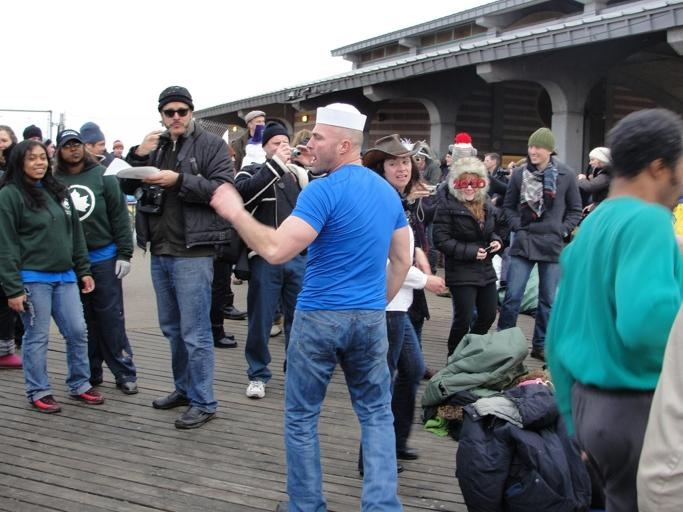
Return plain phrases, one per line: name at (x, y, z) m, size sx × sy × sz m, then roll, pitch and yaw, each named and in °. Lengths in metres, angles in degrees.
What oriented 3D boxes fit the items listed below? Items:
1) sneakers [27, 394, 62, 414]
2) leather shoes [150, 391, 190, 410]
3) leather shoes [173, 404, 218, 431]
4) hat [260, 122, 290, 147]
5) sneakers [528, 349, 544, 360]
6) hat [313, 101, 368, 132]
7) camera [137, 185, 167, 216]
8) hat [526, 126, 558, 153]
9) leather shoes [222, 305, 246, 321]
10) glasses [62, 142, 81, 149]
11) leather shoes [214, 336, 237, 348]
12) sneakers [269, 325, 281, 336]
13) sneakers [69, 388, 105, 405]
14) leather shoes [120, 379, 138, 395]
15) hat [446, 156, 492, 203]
sneakers at (-2.528, 1.260, 4.958) m, size 0.280 × 0.125 × 0.120 m, roll 2°, pitch 0°, yaw 24°
leather shoes at (-1.514, 1.272, 5.125) m, size 0.309 × 0.116 × 0.136 m, roll 4°, pitch 1°, yaw -31°
leather shoes at (-1.214, 1.325, 4.747) m, size 0.122 × 0.121 × 0.312 m, roll -2°, pitch -4°, yaw 28°
hat at (-0.618, -1.147, 5.420) m, size 0.183 × 0.184 × 0.243 m, roll -2°, pitch -17°, yaw -46°
sneakers at (2.193, 1.102, 6.523) m, size 0.065 × 0.073 × 0.173 m, roll -1°, pitch -2°, yaw -26°
hat at (0.000, -0.788, 3.334) m, size 0.200 × 0.109 × 0.199 m, roll 2°, pitch 8°, yaw 6°
camera at (-1.560, -0.456, 4.807) m, size 0.206 × 0.259 × 0.119 m, roll 7°, pitch 3°, yaw 29°
hat at (2.297, -1.377, 6.628) m, size 0.359 × 0.352 × 0.380 m, roll 1°, pitch 1°, yaw 27°
leather shoes at (-1.482, 0.778, 7.946) m, size 0.396 × 0.168 × 0.137 m, roll 0°, pitch 1°, yaw 30°
glasses at (-2.419, -0.990, 5.204) m, size 0.088 × 0.058 × 0.086 m, roll -1°, pitch 1°, yaw -22°
leather shoes at (-1.313, 1.006, 6.774) m, size 0.311 × 0.130 × 0.107 m, roll 0°, pitch 10°, yaw 3°
sneakers at (-0.806, 0.921, 7.178) m, size 0.094 × 0.107 × 0.257 m, roll -2°, pitch -5°, yaw 11°
sneakers at (-2.277, 1.259, 5.224) m, size 0.309 × 0.141 × 0.114 m, roll 1°, pitch 2°, yaw 17°
leather shoes at (-1.985, 1.220, 5.414) m, size 0.084 × 0.088 × 0.222 m, roll 1°, pitch -1°, yaw -35°
hat at (1.274, -0.780, 6.026) m, size 0.380 × 0.441 × 0.452 m, roll 1°, pitch -2°, yaw -3°
